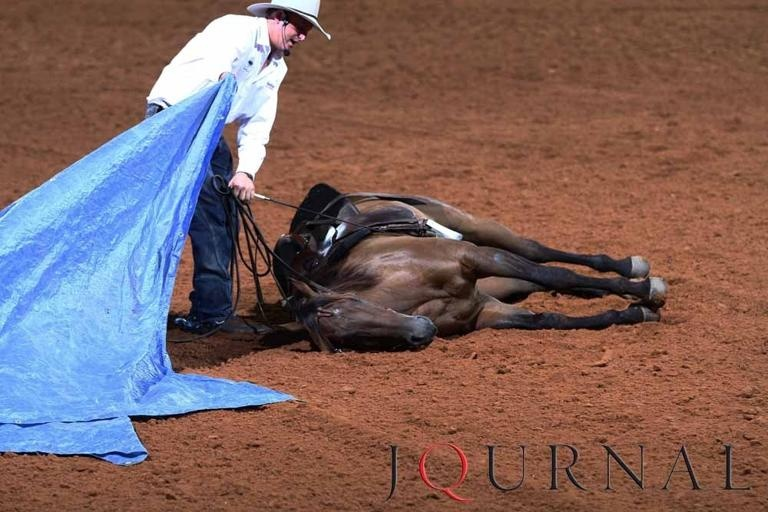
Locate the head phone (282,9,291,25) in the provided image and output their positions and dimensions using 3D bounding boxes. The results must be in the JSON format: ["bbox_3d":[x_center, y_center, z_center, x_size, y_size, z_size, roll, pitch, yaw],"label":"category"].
[{"bbox_3d":[-0.972,-2.365,13.047,0.112,0.114,0.042,4,6,-11],"label":"head phone"}]

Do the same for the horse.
[{"bbox_3d":[0.658,0.198,13.199,3.524,1.141,1.951,1,33,-3],"label":"horse"}]
